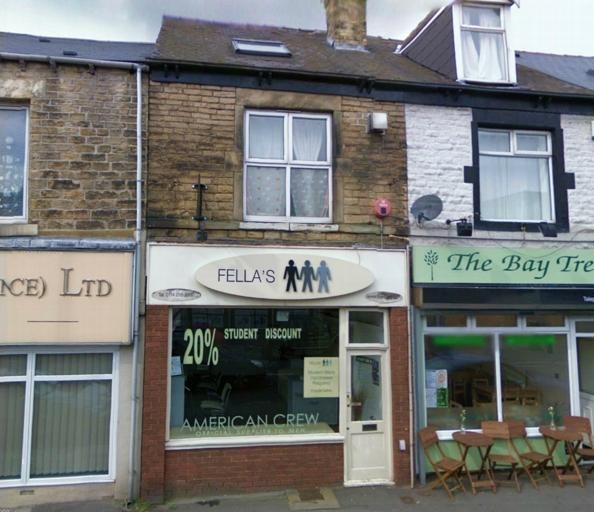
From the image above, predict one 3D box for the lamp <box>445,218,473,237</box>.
[{"bbox_3d":[2.814,-0.487,14.308,0.310,0.320,0.413,1,-3,-15],"label":"lamp"}]
